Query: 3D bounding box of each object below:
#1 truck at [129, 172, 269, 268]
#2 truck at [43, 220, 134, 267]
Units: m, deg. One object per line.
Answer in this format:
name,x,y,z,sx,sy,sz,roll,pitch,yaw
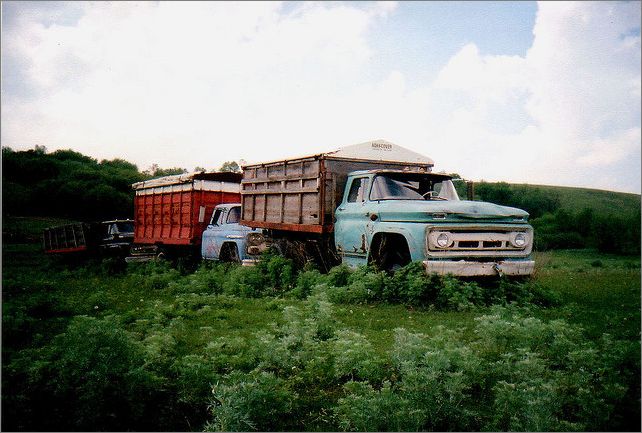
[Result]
truck,-4.719,0.086,16.792,2.773,2.694,4.624,-1,-2,-44
truck,-9.722,1.208,19.378,4.193,1.763,3.168,-4,0,15
